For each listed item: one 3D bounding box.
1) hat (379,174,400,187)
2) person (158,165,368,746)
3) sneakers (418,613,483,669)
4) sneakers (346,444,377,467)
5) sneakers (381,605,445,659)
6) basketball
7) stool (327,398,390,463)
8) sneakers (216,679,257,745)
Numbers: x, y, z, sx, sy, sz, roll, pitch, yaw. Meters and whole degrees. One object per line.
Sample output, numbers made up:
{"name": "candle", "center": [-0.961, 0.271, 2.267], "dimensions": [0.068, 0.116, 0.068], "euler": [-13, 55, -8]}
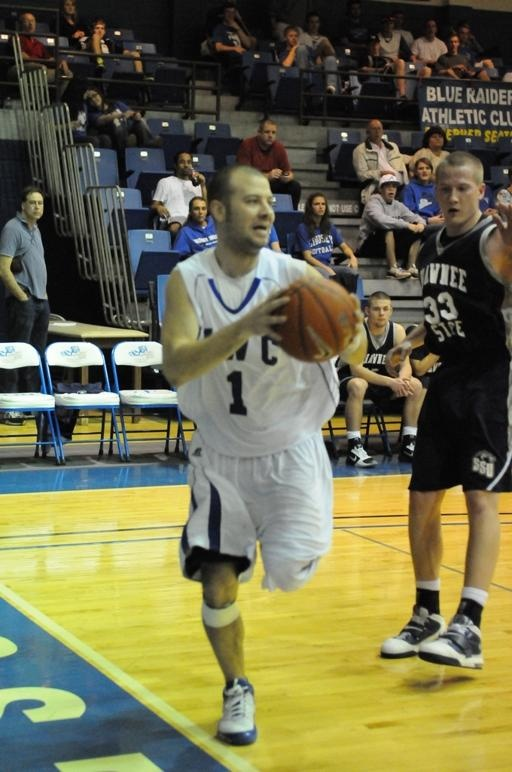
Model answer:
{"name": "hat", "center": [1.704, -2.699, 9.103], "dimensions": [0.245, 0.119, 0.331], "euler": [0, -8, -3]}
{"name": "person", "center": [0.003, 0.172, 1.497], "dimensions": [0.407, 1.285, 0.638], "euler": [0, 0, -2]}
{"name": "sneakers", "center": [0.576, 0.758, 2.065], "dimensions": [0.230, 0.149, 0.105], "euler": [14, -11, -30]}
{"name": "sneakers", "center": [0.919, 0.635, 6.189], "dimensions": [0.113, 0.150, 0.331], "euler": [-1, -2, -23]}
{"name": "sneakers", "center": [0.518, 0.801, 2.327], "dimensions": [0.295, 0.127, 0.098], "euler": [-4, -1, -44]}
{"name": "basketball", "center": [0.097, -0.108, 1.208], "dimensions": [0.145, 0.160, 0.137], "euler": [3, 5, -9]}
{"name": "stool", "center": [1.034, 0.440, 7.038], "dimensions": [0.501, 0.681, 0.794], "euler": [0, -4, -8]}
{"name": "sneakers", "center": [-0.045, 0.739, 1.602], "dimensions": [0.088, 0.141, 0.177], "euler": [0, 0, -1]}
